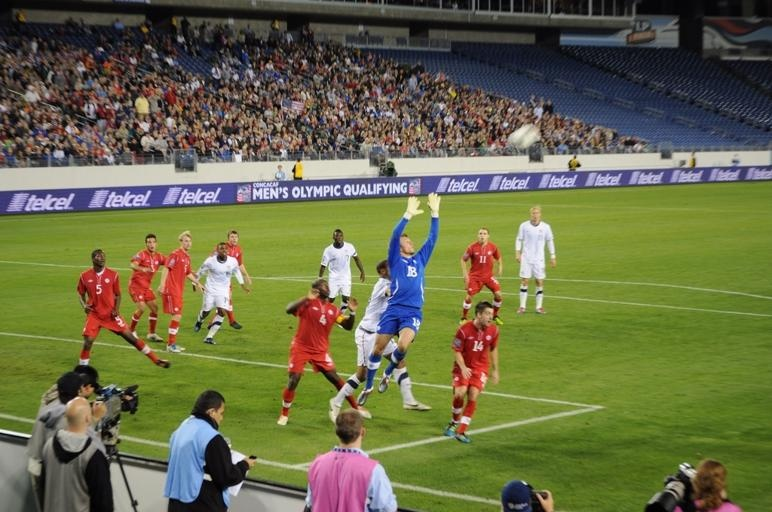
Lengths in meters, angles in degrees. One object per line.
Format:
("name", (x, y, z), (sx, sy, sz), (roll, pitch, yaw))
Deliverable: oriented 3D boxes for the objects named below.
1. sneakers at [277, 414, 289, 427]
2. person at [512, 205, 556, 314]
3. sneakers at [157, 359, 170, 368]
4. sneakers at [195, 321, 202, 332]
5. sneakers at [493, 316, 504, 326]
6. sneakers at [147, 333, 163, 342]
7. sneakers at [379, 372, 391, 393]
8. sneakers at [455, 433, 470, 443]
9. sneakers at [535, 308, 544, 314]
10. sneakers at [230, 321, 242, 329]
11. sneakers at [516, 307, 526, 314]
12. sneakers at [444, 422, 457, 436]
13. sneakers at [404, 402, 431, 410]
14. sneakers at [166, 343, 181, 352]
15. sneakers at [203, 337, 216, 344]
("sneakers", (-1.982, 3.105, 14.519), (0.166, 0.102, 0.205), (3, 18, 0))
("person", (4.216, 0.109, 21.569), (1.025, 2.964, 1.334), (2, 3, 11))
("sneakers", (-5.013, 2.419, 17.111), (0.260, 0.113, 0.196), (17, 4, 30))
("sneakers", (-4.910, 1.824, 19.886), (0.138, 0.229, 0.242), (19, -1, 9))
("sneakers", (2.984, 1.714, 20.296), (0.167, 0.129, 0.304), (-5, 5, -17))
("sneakers", (-5.727, 2.024, 19.196), (0.502, 0.153, 0.212), (10, -23, -29))
("sneakers", (-0.042, 2.493, 15.254), (0.200, 0.203, 0.533), (4, 28, 7))
("sneakers", (1.403, 3.315, 13.964), (0.263, 0.106, 0.129), (3, 8, 36))
("sneakers", (4.274, 1.508, 21.214), (0.200, 0.143, 0.365), (0, 0, 2))
("sneakers", (-3.954, 1.798, 19.978), (0.169, 0.134, 0.318), (-20, 17, -39))
("sneakers", (3.784, 1.512, 21.350), (0.196, 0.193, 0.470), (-2, -3, 12))
("sneakers", (1.208, 3.192, 14.212), (0.138, 0.147, 0.364), (3, 13, 17))
("sneakers", (0.613, 2.983, 15.261), (0.510, 0.172, 0.195), (0, 2, 2))
("sneakers", (-5.092, 2.191, 18.250), (0.418, 0.156, 0.142), (4, 8, 2))
("sneakers", (-4.389, 2.073, 18.950), (0.259, 0.174, 0.385), (1, 2, -14))
